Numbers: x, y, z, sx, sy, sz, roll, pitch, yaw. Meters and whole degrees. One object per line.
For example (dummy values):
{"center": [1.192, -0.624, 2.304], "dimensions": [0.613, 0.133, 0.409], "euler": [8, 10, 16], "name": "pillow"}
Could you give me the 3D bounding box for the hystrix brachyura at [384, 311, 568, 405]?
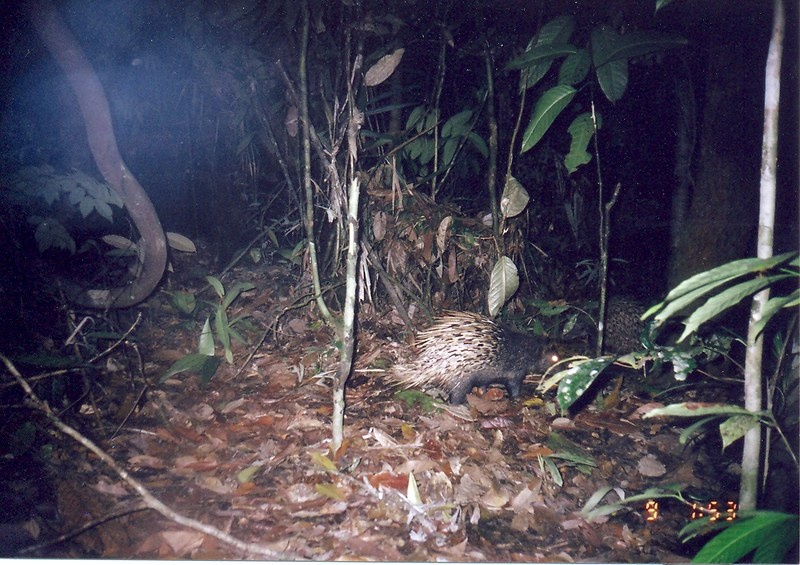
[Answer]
{"center": [0.453, 0.442, 4.085], "dimensions": [1.097, 0.428, 0.402], "euler": [-9, 27, -11], "name": "hystrix brachyura"}
